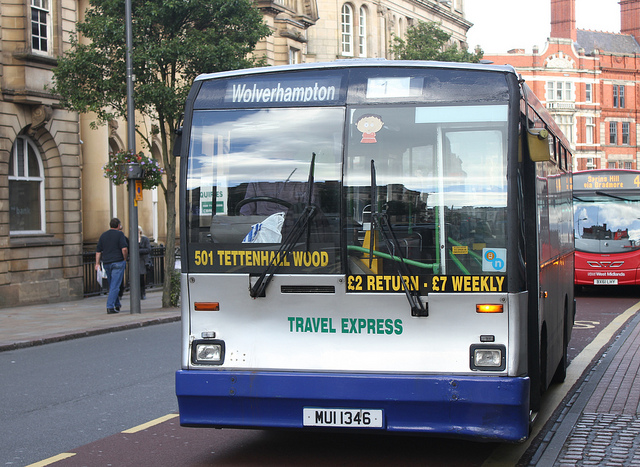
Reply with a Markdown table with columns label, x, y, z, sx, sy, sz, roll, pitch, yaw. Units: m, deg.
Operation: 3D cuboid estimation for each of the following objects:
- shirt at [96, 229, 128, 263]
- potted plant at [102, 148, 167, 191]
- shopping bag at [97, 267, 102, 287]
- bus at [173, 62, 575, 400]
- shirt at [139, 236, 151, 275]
| label | x | y | z | sx | sy | sz | roll | pitch | yaw |
| --- | --- | --- | --- | --- | --- | --- | --- | --- | --- |
| shirt | -5.148 | 0.276 | 19.360 | 0.730 | 0.835 | 0.437 | -2 | 6 | -5 |
| potted plant | -4.619 | -1.586 | 18.975 | 1.097 | 0.893 | 1.242 | -5 | -6 | 31 |
| shopping bag | -5.487 | 0.996 | 19.548 | 0.102 | 0.383 | 0.629 | -1 | 2 | -17 |
| bus | 0.487 | 1.030 | 11.272 | 3.072 | 3.835 | 9.408 | 1 | -12 | 2 |
| shirt | -5.067 | 0.596 | 22.605 | 0.263 | 1.109 | 0.596 | -1 | 2 | -12 |
